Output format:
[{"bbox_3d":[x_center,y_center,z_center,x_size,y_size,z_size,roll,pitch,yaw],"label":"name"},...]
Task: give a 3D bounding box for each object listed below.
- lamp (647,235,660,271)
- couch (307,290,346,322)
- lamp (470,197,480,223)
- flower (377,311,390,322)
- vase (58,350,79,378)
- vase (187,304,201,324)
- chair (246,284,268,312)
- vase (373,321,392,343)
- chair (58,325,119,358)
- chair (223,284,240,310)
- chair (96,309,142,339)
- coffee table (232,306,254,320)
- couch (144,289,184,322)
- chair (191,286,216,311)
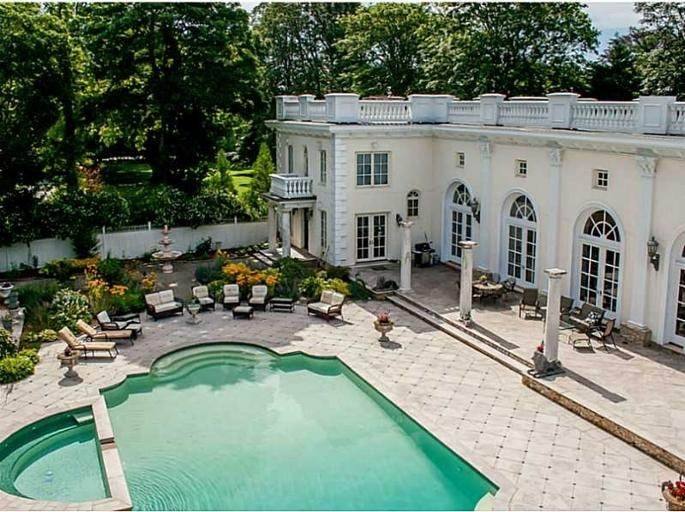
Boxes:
[{"bbox_3d":[10.189,-0.067,16.328,0.374,1.138,0.376,3,10,32],"label":"lamp"},{"bbox_3d":[-0.762,1.677,21.071,1.088,1.369,1.861,-5,8,-34],"label":"couch"},{"bbox_3d":[6.275,-2.154,23.471,0.427,1.215,0.771,0,8,16],"label":"lamp"},{"bbox_3d":[1.574,2.329,18.839,0.390,0.395,0.380,1,2,-42],"label":"flower"},{"bbox_3d":[-8.947,3.526,16.283,0.583,0.940,0.811,-5,8,-23],"label":"vase"},{"bbox_3d":[-6.222,2.418,20.997,0.751,0.829,0.762,1,5,5],"label":"vase"},{"bbox_3d":[-3.682,1.850,21.931,0.886,1.247,0.961,1,7,1],"label":"chair"},{"bbox_3d":[1.522,2.888,18.995,0.725,0.645,0.735,0,1,1],"label":"vase"},{"bbox_3d":[-8.984,3.172,17.635,1.837,1.034,1.116,0,13,-12],"label":"chair"},{"bbox_3d":[-4.953,1.813,22.139,0.908,1.261,0.949,0,4,-11],"label":"chair"},{"bbox_3d":[-8.751,2.735,19.377,1.673,1.001,1.025,1,11,-2],"label":"chair"},{"bbox_3d":[-4.244,2.412,21.209,0.881,0.491,0.896,5,10,42],"label":"coffee table"},{"bbox_3d":[-7.691,2.088,21.488,1.066,1.336,1.817,20,22,37],"label":"couch"},{"bbox_3d":[-6.196,1.934,22.065,1.004,1.362,1.046,-8,15,-41],"label":"chair"}]
